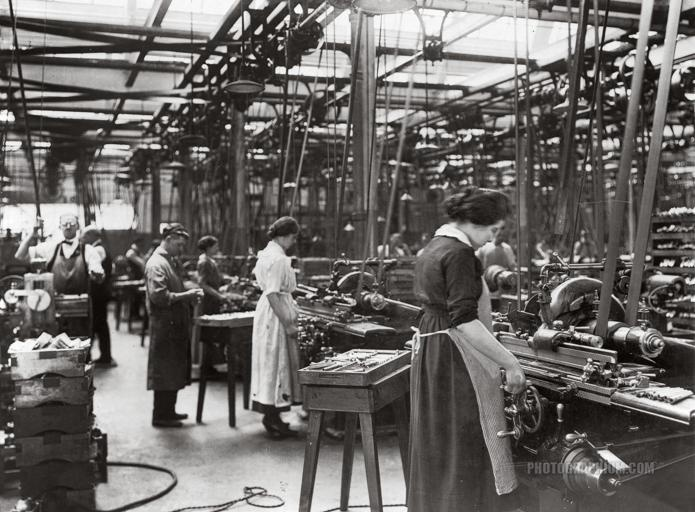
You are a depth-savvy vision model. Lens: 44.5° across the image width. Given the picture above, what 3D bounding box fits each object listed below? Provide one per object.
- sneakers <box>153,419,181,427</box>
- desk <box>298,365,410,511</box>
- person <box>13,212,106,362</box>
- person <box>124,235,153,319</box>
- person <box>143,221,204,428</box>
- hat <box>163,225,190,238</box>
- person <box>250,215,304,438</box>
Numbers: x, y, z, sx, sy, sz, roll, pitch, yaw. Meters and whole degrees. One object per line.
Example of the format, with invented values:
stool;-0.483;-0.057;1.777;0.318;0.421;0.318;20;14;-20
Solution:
sneakers;-1.920;1.759;9.099;0.295;0.150;0.115;-1;-4;1
desk;0.068;1.499;6.943;0.903;1.246;0.666;-1;3;5
person;-3.010;-0.010;8.864;0.482;0.859;0.948;0;4;31
person;-2.803;0.262;11.645;0.345;1.182;0.353;-7;25;-21
person;-1.885;0.722;9.133;0.541;2.144;0.526;-2;3;-12
hat;-1.837;-0.283;9.164;0.209;0.131;0.167;5;-5;-14
person;-0.723;0.555;8.547;0.499;1.899;0.281;-2;3;-6
